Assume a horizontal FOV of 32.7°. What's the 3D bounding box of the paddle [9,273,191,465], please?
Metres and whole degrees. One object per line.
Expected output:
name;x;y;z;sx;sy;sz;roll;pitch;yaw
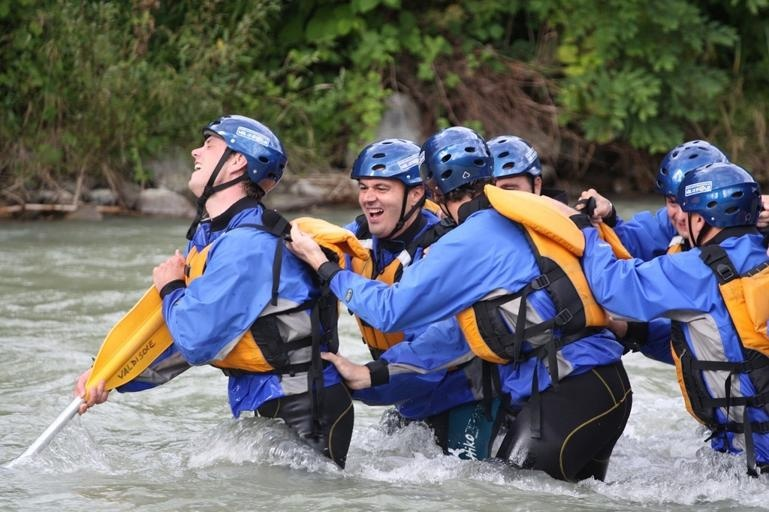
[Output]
paddle;-3.227;1.370;14.799;0.470;2.644;0.288;50;-17;-20

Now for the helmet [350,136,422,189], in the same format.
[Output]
helmet;0.045;-1.054;14.332;0.689;0.368;0.488;17;-12;-34
